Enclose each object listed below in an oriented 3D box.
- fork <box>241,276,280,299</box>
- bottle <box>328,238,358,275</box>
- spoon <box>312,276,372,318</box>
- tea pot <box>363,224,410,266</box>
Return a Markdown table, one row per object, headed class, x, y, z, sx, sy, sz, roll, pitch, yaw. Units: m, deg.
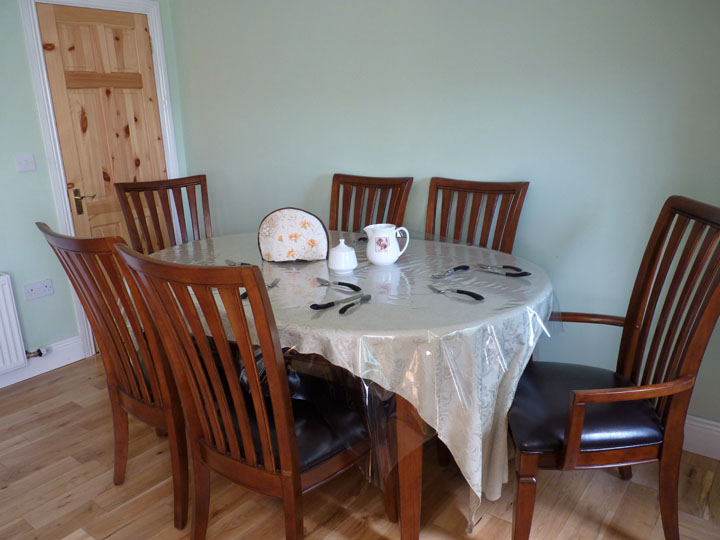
| class | x | y | z | sx | sy | sz | roll | pitch | yaw |
| --- | --- | --- | --- | --- | --- | --- | --- | --- | --- |
| fork | -0.325 | 0.057 | 1.718 | 0.102 | 0.029 | 0.025 | -41 | 32 | -27 |
| bottle | -0.074 | -0.066 | 2.253 | 0.131 | 0.135 | 0.135 | 2 | 10 | 11 |
| spoon | -0.063 | 0.094 | 1.973 | 0.144 | 0.031 | 0.141 | 7 | 24 | 23 |
| tea pot | 0.154 | -0.123 | 2.379 | 0.237 | 0.194 | 0.171 | -1 | 9 | -15 |
